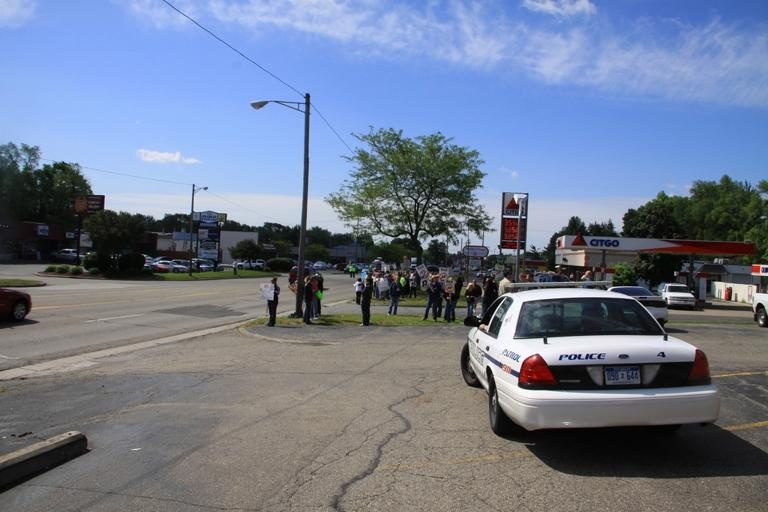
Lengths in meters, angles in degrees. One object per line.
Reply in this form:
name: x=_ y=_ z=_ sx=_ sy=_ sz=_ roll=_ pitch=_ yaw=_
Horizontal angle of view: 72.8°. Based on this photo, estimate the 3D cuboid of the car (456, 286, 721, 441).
car: x=2.678 y=1.527 z=7.246 sx=3.307 sy=2.048 sz=2.149 roll=1 pitch=1 yaw=33

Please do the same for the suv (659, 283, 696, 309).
suv: x=17.738 y=2.380 z=31.602 sx=1.434 sy=1.162 sz=3.147 roll=0 pitch=-7 yaw=14
